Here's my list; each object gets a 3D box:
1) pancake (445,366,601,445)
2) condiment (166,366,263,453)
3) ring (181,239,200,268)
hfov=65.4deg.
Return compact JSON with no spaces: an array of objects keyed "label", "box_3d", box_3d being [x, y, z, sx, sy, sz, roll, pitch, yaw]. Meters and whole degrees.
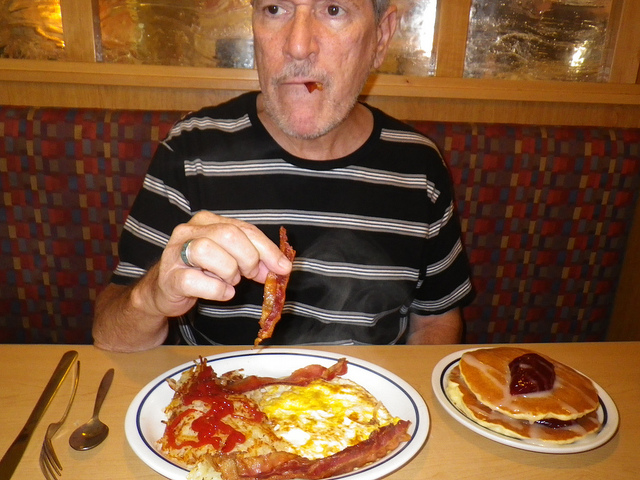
[{"label":"pancake","box_3d":[0.562,0.445,1.446,0.342,0.116,0.290,1,5,-5]},{"label":"condiment","box_3d":[-0.285,0.471,1.354,0.219,0.086,0.251,9,23,19]},{"label":"ring","box_3d":[-0.363,0.039,1.390,0.026,0.071,0.062,2,3,31]}]
